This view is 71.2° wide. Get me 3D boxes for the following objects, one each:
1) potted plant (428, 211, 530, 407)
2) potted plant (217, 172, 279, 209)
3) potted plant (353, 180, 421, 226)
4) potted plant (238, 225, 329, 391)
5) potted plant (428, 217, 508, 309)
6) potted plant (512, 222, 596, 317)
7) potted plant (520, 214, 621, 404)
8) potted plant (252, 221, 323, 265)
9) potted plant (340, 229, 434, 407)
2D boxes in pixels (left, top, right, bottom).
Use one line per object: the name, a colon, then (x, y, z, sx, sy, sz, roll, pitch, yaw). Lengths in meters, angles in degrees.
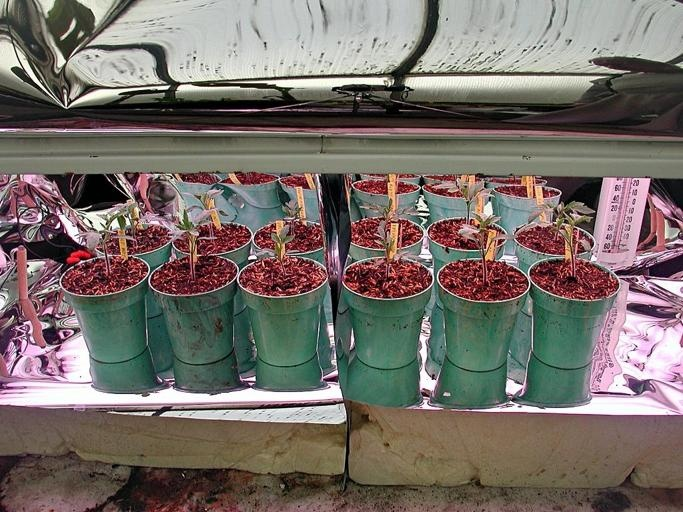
potted plant: (0.465, 0.176, 1.588, 0.295, 0.660, 0.298, 2, 23, 20)
potted plant: (-0.379, -0.276, 1.936, 0.225, 0.097, 0.134, -3, 33, -4)
potted plant: (0.180, -0.255, 1.976, 0.235, 0.136, 0.215, -3, 24, -2)
potted plant: (-0.175, 0.220, 1.590, 0.288, 0.446, 0.239, -6, 21, -3)
potted plant: (0.401, -0.014, 1.814, 0.336, 0.272, 0.320, -4, 33, -2)
potted plant: (0.695, 0.008, 1.752, 0.341, 0.275, 0.324, -3, 31, 2)
potted plant: (0.714, 0.175, 1.555, 0.313, 0.621, 0.238, -5, 21, 2)
potted plant: (-0.170, -0.058, 1.729, 0.216, 0.063, 0.196, 0, 28, -2)
potted plant: (0.155, 0.267, 1.615, 0.308, 0.494, 0.233, 0, 22, 15)
